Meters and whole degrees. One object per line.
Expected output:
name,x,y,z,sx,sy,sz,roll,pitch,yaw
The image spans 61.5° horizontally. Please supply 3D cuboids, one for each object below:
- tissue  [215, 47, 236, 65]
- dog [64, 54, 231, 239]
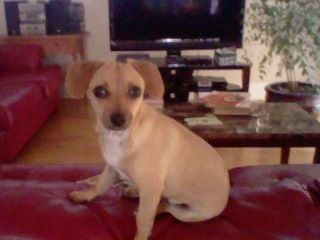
tissue ,0.754,-0.727,3.174,0.222,0.136,0.221,-4,26,-2
dog,-0.024,0.018,1.053,0.595,0.640,0.440,-5,18,-29
